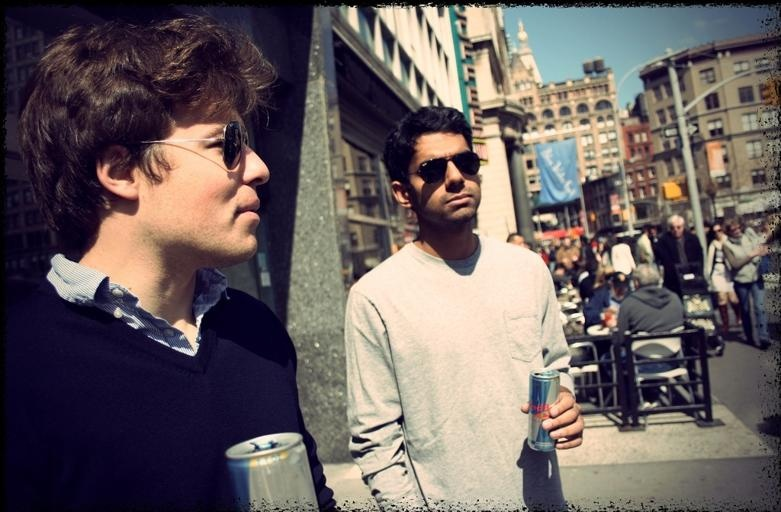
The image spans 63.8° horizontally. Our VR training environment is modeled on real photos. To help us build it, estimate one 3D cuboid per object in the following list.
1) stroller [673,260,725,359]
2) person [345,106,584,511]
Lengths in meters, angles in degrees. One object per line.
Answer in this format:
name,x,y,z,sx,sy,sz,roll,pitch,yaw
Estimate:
stroller,4.834,0.750,9.882,0.786,2.175,0.929,-2,-1,9
person,0.412,0.253,4.053,1.096,2.386,1.313,-1,-2,3
